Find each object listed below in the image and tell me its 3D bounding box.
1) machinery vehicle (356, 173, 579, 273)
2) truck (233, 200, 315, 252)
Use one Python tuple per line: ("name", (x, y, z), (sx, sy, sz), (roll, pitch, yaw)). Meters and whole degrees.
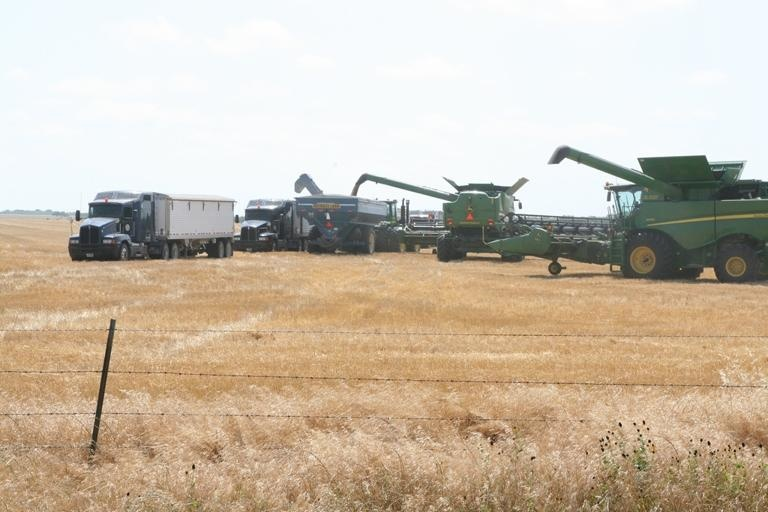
("machinery vehicle", (2.831, -1.370, 33.755), (7.167, 2.999, 4.035), (-1, 2, 14))
("truck", (-5.741, -1.660, 45.534), (2.480, 3.027, 6.566), (2, 3, 17))
